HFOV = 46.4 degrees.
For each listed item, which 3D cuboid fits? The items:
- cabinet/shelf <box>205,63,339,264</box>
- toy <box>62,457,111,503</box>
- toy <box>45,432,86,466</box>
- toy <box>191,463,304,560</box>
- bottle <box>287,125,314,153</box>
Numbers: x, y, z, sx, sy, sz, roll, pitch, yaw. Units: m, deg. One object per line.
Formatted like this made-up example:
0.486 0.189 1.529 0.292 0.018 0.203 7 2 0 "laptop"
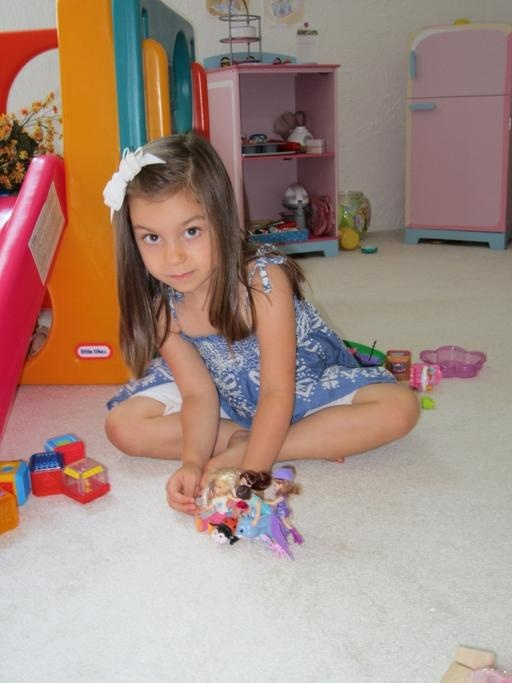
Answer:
0.147 -0.922 3.040 0.541 0.855 0.466 -1 21 -2 "cabinet/shelf"
-0.275 0.221 0.956 0.057 0.053 0.076 -14 17 -39 "toy"
-0.330 0.185 1.035 0.051 0.044 0.048 -8 -2 -19 "toy"
-0.011 0.214 0.760 0.125 0.108 0.058 6 -13 -3 "toy"
0.226 -1.024 2.996 0.143 0.125 0.138 -3 10 -7 "bottle"
